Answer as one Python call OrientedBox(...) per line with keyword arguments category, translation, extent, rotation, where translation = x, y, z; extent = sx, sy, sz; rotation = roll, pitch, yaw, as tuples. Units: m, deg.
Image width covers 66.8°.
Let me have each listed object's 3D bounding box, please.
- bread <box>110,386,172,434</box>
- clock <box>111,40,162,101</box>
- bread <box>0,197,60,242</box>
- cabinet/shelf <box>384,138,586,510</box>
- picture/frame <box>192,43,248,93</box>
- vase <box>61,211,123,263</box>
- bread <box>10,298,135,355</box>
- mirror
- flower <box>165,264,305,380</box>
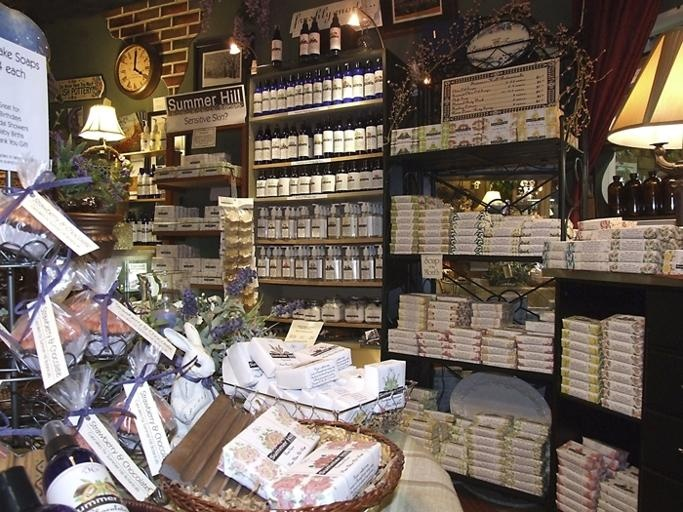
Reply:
OrientedBox(category="bread", translation=(-0.471, 0.383, 1.248), extent=(0.121, 0.112, 0.043), rotation=(8, -32, -43))
OrientedBox(category="clock", translation=(-2.327, -2.124, 5.949), extent=(0.624, 0.659, 0.171), rotation=(-26, -18, 30))
OrientedBox(category="bread", translation=(-0.704, -0.085, 1.157), extent=(0.067, 0.035, 0.082), rotation=(35, -6, -4))
OrientedBox(category="cabinet/shelf", translation=(0.865, 0.310, 3.149), extent=(1.096, 2.063, 0.640), rotation=(3, 6, 38))
OrientedBox(category="picture/frame", translation=(-1.202, -1.889, 5.206), extent=(0.725, 0.619, 0.062), rotation=(3, 5, 28))
OrientedBox(category="vase", translation=(-0.748, -0.061, 1.590), extent=(0.157, 0.127, 0.173), rotation=(2, 2, 19))
OrientedBox(category="bread", translation=(-0.605, 0.158, 1.189), extent=(0.176, 0.085, 0.157), rotation=(7, -13, -30))
OrientedBox(category="mirror", translation=(1.009, -0.051, 3.359), extent=(1.053, 1.012, 0.348), rotation=(2, 4, 43))
OrientedBox(category="flower", translation=(-0.378, 0.176, 1.695), extent=(0.306, 0.344, 0.321), rotation=(28, 24, 26))
